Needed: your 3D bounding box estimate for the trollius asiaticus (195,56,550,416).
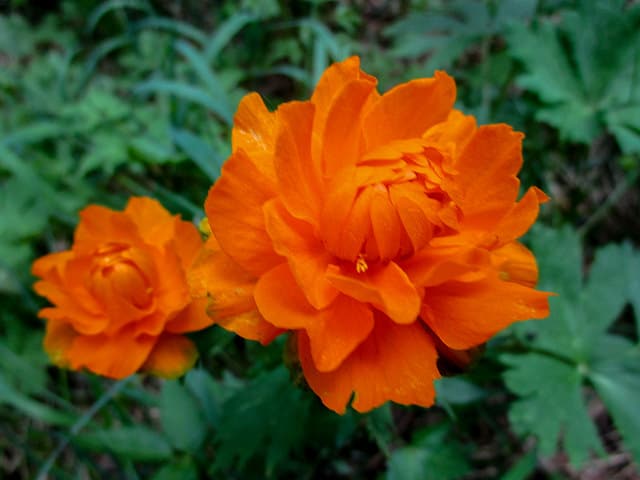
[{"bbox_3d":[0.072,-0.012,0.851,0.519,0.370,0.337,-16,37,-7],"label":"trollius asiaticus"}]
